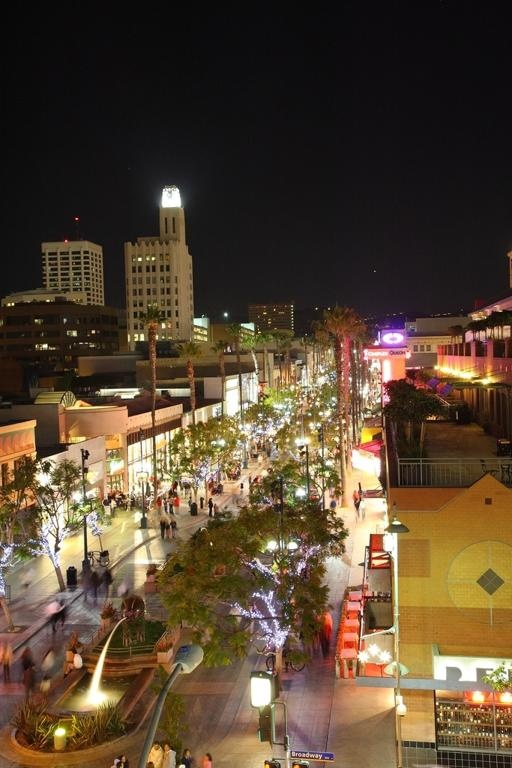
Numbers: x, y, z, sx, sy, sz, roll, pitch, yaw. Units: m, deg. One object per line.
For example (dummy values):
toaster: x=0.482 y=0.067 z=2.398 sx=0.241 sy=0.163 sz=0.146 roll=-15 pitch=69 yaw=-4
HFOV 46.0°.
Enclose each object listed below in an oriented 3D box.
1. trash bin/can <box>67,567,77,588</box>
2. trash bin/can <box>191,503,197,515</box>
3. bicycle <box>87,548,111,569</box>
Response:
trash bin/can: x=-8.191 y=8.685 z=26.890 sx=0.441 sy=0.838 sz=0.900 roll=-4 pitch=2 yaw=-18
trash bin/can: x=-4.206 y=8.527 z=40.756 sx=0.399 sy=0.610 sz=0.619 roll=-3 pitch=2 yaw=-7
bicycle: x=-7.822 y=8.768 z=29.995 sx=1.374 sy=0.900 sz=0.718 roll=-1 pitch=-1 yaw=4
